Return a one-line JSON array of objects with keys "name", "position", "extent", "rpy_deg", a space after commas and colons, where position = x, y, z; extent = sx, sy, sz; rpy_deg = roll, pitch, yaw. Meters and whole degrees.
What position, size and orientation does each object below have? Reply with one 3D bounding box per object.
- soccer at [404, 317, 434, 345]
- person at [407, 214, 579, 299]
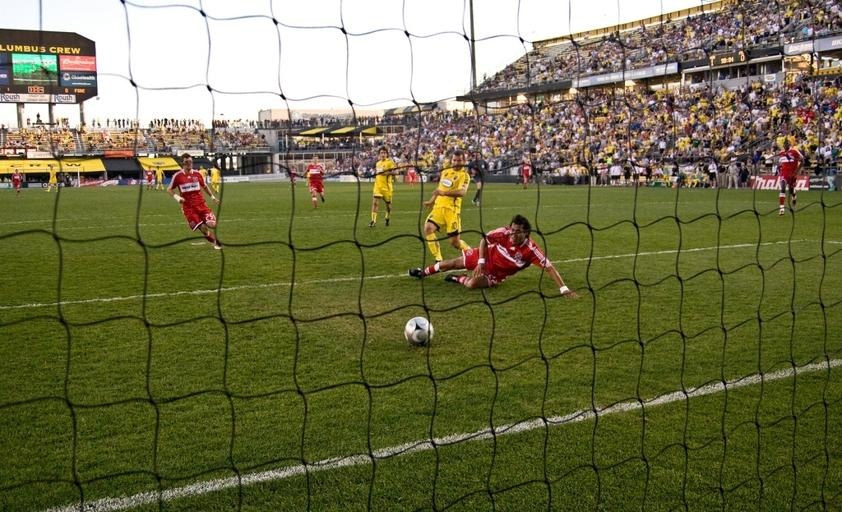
[{"name": "soccer", "position": [-0.050, 0.916, 9.799], "extent": [0.267, 0.328, 0.336], "rpy_deg": [-6, 11, -8]}, {"name": "person", "position": [1.058, -0.038, 11.789], "extent": [2.552, 0.995, 0.735], "rpy_deg": [5, 16, 19]}]
